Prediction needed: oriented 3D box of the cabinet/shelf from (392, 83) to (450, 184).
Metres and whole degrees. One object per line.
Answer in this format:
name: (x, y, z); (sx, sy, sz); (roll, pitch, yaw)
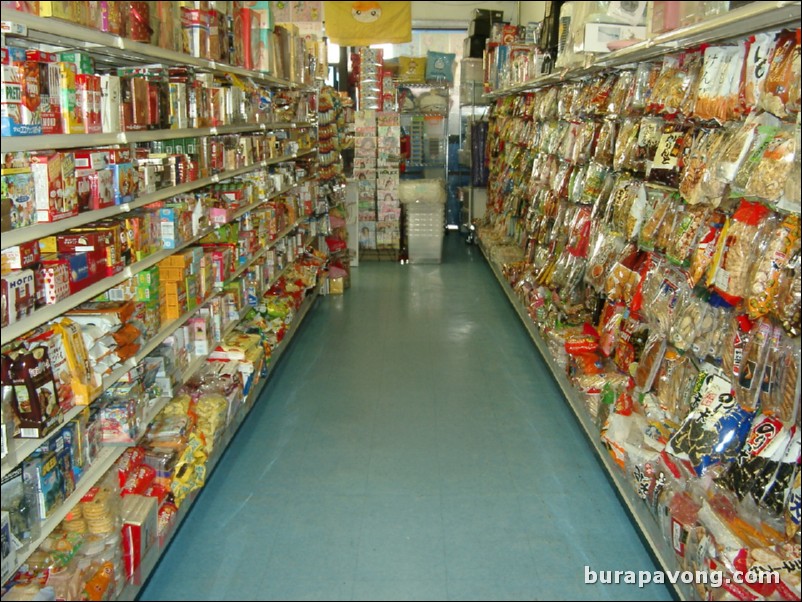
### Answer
cabinet/shelf: (0.489, -3.539, 11.024); (1.034, 1.792, 1.000); (-1, 15, 0)

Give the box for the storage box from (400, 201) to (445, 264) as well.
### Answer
storage box: (0.406, -1.212, 9.490); (0.803, 1.338, 1.351); (0, 9, 2)
